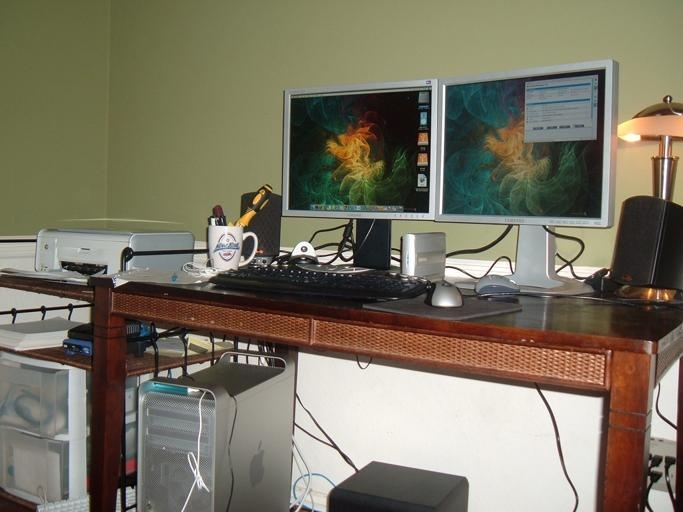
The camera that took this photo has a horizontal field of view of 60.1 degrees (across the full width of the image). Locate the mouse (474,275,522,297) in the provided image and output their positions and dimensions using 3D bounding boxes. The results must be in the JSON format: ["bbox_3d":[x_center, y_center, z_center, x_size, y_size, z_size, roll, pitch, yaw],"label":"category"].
[{"bbox_3d":[0.408,0.074,1.582,0.094,0.036,0.059,-2,8,-14],"label":"mouse"}]

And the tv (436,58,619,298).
[{"bbox_3d":[0.531,-0.213,1.685,0.479,0.627,0.092,7,6,39],"label":"tv"}]

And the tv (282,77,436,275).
[{"bbox_3d":[0.065,-0.264,1.895,0.632,0.735,0.187,2,2,23],"label":"tv"}]

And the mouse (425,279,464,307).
[{"bbox_3d":[0.244,0.081,1.385,0.061,0.038,0.062,7,7,38],"label":"mouse"}]

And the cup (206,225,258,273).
[{"bbox_3d":[-0.363,-0.029,1.929,0.115,0.172,0.128,6,7,34],"label":"cup"}]

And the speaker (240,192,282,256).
[{"bbox_3d":[-0.292,-0.111,2.189,0.111,0.253,0.127,-2,9,-43],"label":"speaker"}]

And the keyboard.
[{"bbox_3d":[-0.067,0.071,1.552,0.365,0.016,0.252,6,10,29],"label":"keyboard"}]

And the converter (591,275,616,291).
[{"bbox_3d":[0.754,0.076,1.700,0.051,0.048,0.037,-3,4,0],"label":"converter"}]
